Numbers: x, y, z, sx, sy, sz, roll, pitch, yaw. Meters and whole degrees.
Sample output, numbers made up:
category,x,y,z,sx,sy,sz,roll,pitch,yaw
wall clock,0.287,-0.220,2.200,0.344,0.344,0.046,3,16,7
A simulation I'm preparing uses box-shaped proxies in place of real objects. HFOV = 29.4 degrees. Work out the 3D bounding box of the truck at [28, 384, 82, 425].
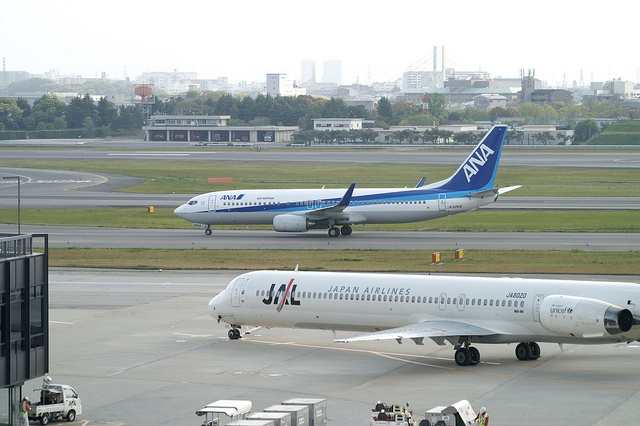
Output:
category,x,y,z,sx,sy,sz,roll,pitch,yaw
truck,-18.652,13.350,86.067,2.556,1.632,3.966,4,7,36
